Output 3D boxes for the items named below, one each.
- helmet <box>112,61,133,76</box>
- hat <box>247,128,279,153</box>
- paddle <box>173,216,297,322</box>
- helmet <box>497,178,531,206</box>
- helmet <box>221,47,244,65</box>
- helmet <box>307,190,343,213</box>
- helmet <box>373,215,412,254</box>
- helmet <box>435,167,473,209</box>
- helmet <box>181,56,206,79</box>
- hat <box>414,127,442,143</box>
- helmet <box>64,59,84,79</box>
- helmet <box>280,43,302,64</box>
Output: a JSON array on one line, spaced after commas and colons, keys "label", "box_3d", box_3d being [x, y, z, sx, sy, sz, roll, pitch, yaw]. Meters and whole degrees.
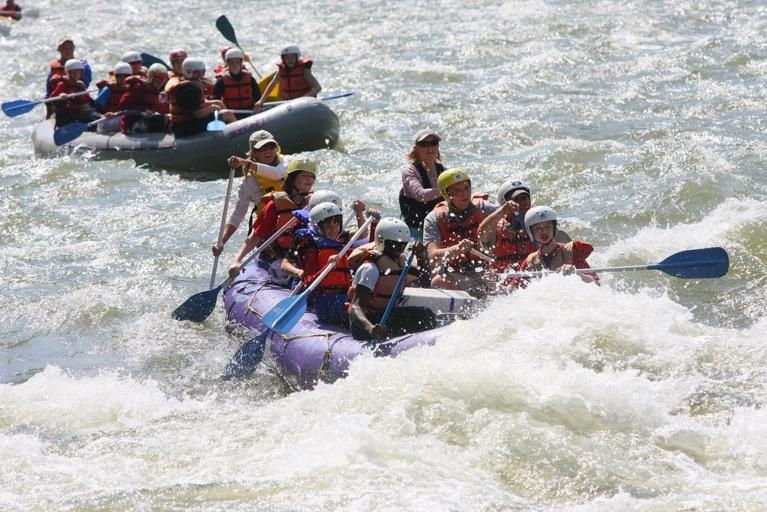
[{"label": "helmet", "box_3d": [-4.583, -3.257, 19.574, 0.254, 0.205, 0.303, -1, -16, -18]}, {"label": "hat", "box_3d": [-1.653, -1.538, 14.886, 0.352, 0.203, 0.430, -5, -15, -26]}, {"label": "paddle", "box_3d": [-1.953, 0.232, 14.781, 2.002, 0.332, 0.081, -30, 2, 5]}, {"label": "helmet", "box_3d": [1.635, -0.788, 14.044, 0.381, 0.293, 0.516, -4, 29, 4]}, {"label": "helmet", "box_3d": [-2.612, -3.500, 19.363, 0.335, 0.274, 0.398, -9, -13, -16]}, {"label": "helmet", "box_3d": [-0.741, -0.683, 13.902, 0.365, 0.243, 0.238, -1, 17, 2]}, {"label": "helmet", "box_3d": [0.063, -0.245, 13.164, 0.399, 0.357, 0.439, -5, 29, -18]}, {"label": "helmet", "box_3d": [0.825, -0.847, 13.960, 0.455, 0.481, 0.531, -25, 7, -15]}, {"label": "helmet", "box_3d": [-3.167, -3.122, 18.464, 0.356, 0.358, 0.267, -11, 32, -7]}, {"label": "hat", "box_3d": [0.563, -1.614, 14.836, 0.308, 0.167, 0.352, -6, 28, -1]}, {"label": "helmet", "box_3d": [-5.528, -3.338, 19.871, 0.330, 0.324, 0.395, -3, 7, -27]}, {"label": "helmet", "box_3d": [-1.551, -3.441, 19.035, 0.356, 0.292, 0.361, -3, 5, 3]}]
